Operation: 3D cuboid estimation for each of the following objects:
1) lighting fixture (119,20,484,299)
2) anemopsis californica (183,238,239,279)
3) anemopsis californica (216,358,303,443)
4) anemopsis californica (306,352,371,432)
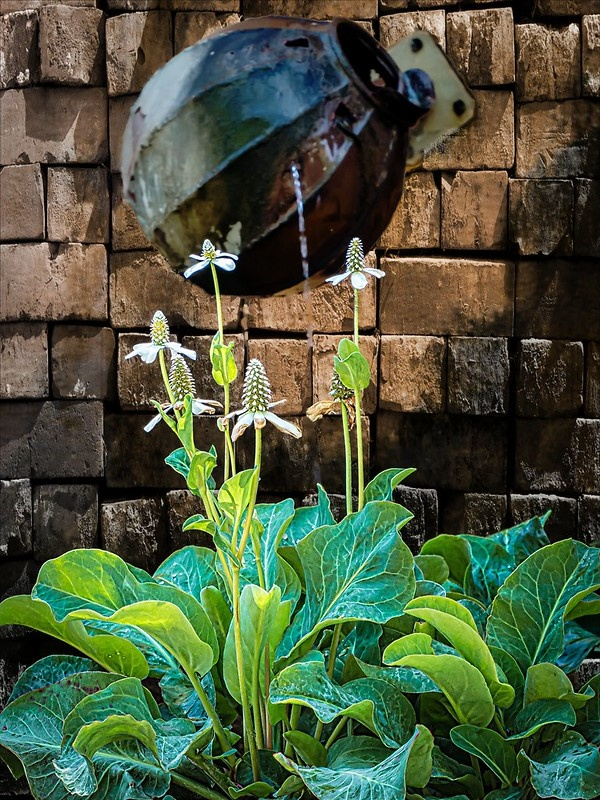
[{"bbox_3d":[-0.006,-0.286,1.647,0.332,0.321,0.297,-32,-1,-12],"label":"lighting fixture"},{"bbox_3d":[-0.103,-0.162,1.676,0.063,0.048,0.096,-4,9,-5],"label":"anemopsis californica"},{"bbox_3d":[-0.042,0.001,1.604,0.077,0.089,0.085,-3,8,-26],"label":"anemopsis californica"},{"bbox_3d":[0.053,-0.014,1.944,0.044,0.108,0.065,-4,-22,26],"label":"anemopsis californica"}]
